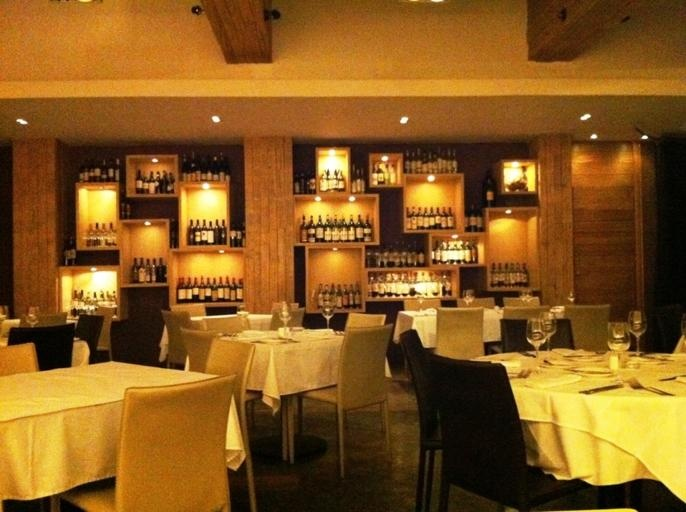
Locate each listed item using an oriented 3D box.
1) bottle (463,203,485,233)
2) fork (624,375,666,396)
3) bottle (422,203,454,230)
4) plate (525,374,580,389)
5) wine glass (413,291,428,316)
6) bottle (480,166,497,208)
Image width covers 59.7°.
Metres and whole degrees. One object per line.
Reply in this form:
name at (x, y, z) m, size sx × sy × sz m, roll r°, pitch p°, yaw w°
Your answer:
bottle at (1.621, -0.463, 7.370) m, size 0.340 × 0.493 × 0.141 m, roll 1°, pitch -7°, yaw -10°
fork at (1.325, 0.564, 2.611) m, size 0.047 × 0.028 × 0.157 m, roll -7°, pitch 7°, yaw -23°
bottle at (1.176, -0.483, 7.352) m, size 0.310 × 0.315 × 0.076 m, roll 1°, pitch -12°, yaw -5°
plate at (0.941, 0.568, 2.696) m, size 0.141 × 0.024 × 0.099 m, roll -3°, pitch -6°, yaw -20°
wine glass at (0.829, 0.511, 6.348) m, size 0.168 × 0.316 × 0.166 m, roll 1°, pitch -3°, yaw -21°
bottle at (1.842, -0.857, 7.438) m, size 0.193 × 0.469 × 0.232 m, roll -1°, pitch 4°, yaw -1°
